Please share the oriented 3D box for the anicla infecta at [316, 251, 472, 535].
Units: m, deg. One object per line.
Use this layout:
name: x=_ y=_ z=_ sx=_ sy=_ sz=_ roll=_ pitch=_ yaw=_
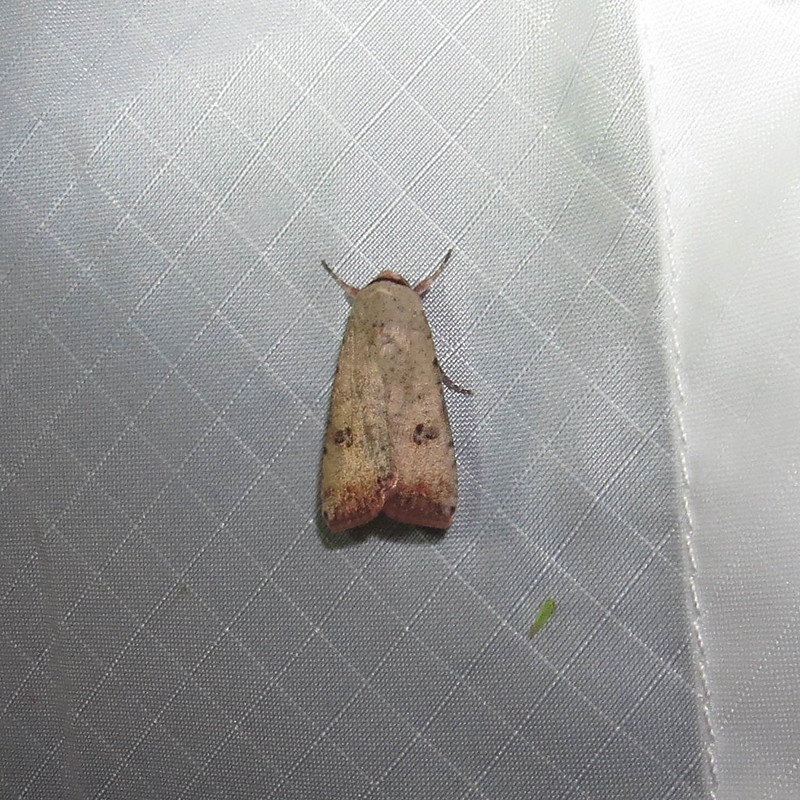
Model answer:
anicla infecta: x=0.005 y=0.011 z=1.641 sx=0.226 sy=0.365 sz=0.215 roll=12 pitch=-35 yaw=13
